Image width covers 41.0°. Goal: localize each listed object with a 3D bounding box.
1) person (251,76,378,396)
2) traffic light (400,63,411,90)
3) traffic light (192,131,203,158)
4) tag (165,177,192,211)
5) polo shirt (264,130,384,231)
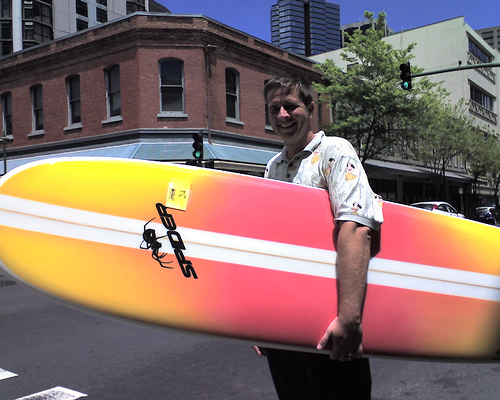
[{"bbox_3d":[0.478,0.274,4.758,0.467,2.317,0.871,-6,10,-39],"label":"person"},{"bbox_3d":[3.753,-2.992,16.101,0.255,0.616,0.848,2,7,13],"label":"traffic light"},{"bbox_3d":[-1.055,-1.085,13.314,0.177,0.497,0.533,-1,7,-7],"label":"traffic light"},{"bbox_3d":[-0.509,-0.046,4.675,0.192,0.211,0.052,13,-11,0],"label":"tag"},{"bbox_3d":[0.543,-0.159,4.794,0.285,0.657,0.856,-6,9,-38],"label":"polo shirt"}]
